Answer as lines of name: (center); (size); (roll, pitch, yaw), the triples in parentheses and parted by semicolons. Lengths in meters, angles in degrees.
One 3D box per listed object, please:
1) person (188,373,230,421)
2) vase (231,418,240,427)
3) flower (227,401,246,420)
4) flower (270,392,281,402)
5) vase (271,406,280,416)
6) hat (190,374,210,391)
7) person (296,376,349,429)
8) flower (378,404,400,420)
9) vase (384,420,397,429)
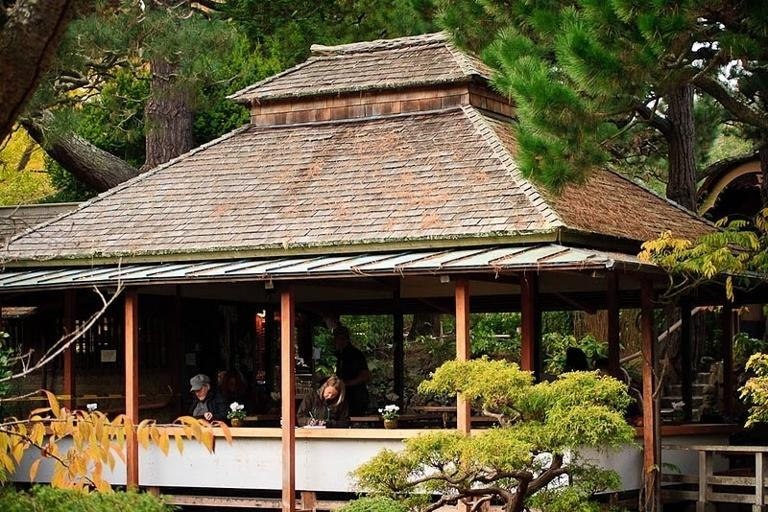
person: (-3.275, 2.595, 23.435); (0.844, 0.861, 0.605); (-9, -8, 41)
vase: (-2.673, 2.986, 22.866); (0.128, 0.100, 0.135); (0, -8, 0)
flower: (-2.662, 2.787, 23.047); (0.305, 0.358, 0.309); (8, -12, -41)
flower: (-2.464, 3.183, 28.865); (0.209, 0.148, 0.209); (-1, -6, 8)
vase: (-2.189, 3.107, 25.689); (0.197, 0.134, 0.208); (-1, -5, 1)
hat: (-3.369, 2.334, 23.567); (0.248, 0.226, 0.391); (-4, -10, 13)
person: (-1.071, 2.717, 22.840); (0.977, 1.463, 0.800); (2, -13, -1)
flower: (0.075, 2.752, 22.364); (0.394, 0.300, 0.401); (1, -2, 2)
vase: (0.102, 2.900, 22.108); (0.201, 0.160, 0.297); (-3, -7, -5)
